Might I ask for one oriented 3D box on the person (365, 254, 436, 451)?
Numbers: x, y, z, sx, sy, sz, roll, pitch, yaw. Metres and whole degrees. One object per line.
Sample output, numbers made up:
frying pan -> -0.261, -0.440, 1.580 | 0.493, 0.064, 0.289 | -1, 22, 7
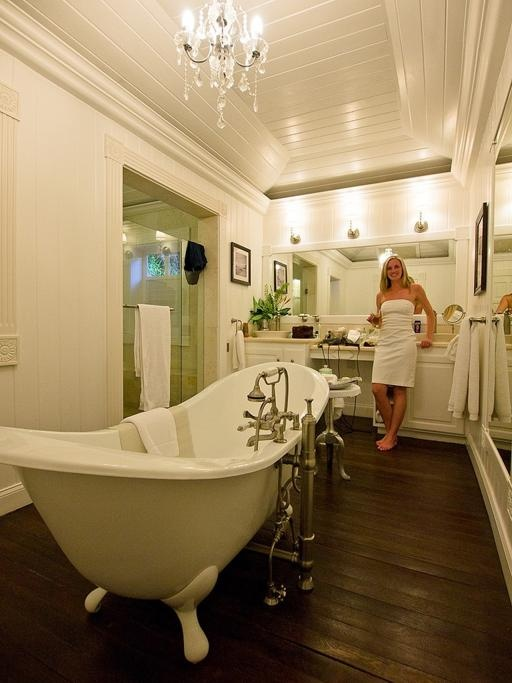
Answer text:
person -> 1.063, 0.063, 3.338 | 0.451, 1.405, 0.644 | 2, 4, 22

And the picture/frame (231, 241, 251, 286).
picture/frame -> -0.148, -0.747, 4.302 | 0.031, 0.407, 0.426 | 0, -2, 18

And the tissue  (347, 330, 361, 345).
tissue  -> 0.837, -0.037, 3.862 | 0.127, 0.116, 0.095 | 1, 4, 5

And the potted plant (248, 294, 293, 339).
potted plant -> 0.123, -0.291, 4.626 | 0.204, 0.416, 0.350 | 6, -5, 19

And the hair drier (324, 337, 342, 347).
hair drier -> 0.658, 0.003, 3.873 | 0.154, 0.075, 0.062 | 3, 4, 31

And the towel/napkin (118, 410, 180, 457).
towel/napkin -> -0.391, 0.387, 1.766 | 0.150, 0.199, 0.201 | -24, -12, 30

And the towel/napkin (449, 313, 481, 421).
towel/napkin -> 1.314, 0.177, 2.834 | 0.157, 0.661, 0.502 | 2, 4, 20
